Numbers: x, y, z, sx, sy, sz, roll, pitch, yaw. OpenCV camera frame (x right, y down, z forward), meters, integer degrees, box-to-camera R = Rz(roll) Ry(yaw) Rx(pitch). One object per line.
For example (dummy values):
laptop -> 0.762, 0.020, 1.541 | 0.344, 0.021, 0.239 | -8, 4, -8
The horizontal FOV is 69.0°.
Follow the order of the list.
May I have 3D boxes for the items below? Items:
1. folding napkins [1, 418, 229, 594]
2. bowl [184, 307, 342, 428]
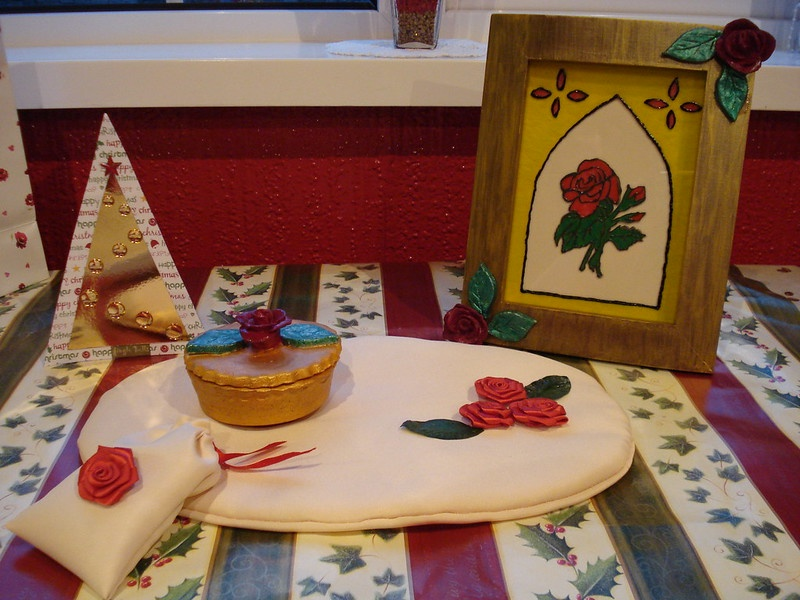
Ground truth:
folding napkins -> -0.347, 0.272, 0.751 | 0.176, 0.078, 0.205 | 32, 51, 19
bowl -> -0.215, 0.087, 0.931 | 0.246, 0.125, 0.224 | 0, 26, 0
